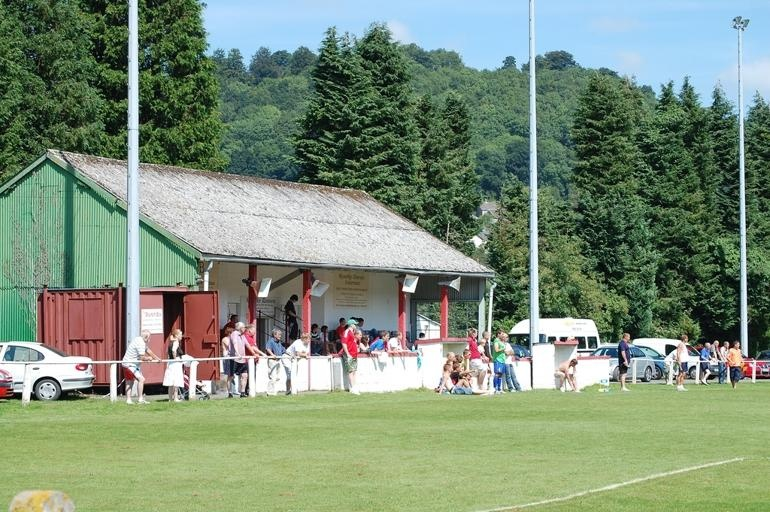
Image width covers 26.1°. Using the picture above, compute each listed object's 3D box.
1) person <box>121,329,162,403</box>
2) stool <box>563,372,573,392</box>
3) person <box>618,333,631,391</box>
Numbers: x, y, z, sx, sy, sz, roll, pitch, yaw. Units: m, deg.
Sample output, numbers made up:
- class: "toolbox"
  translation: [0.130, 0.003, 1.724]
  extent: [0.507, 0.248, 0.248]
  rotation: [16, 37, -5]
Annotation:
- class: "person"
  translation: [-9.420, 4.027, 62.762]
  extent: [1.372, 2.921, 1.167]
  rotation: [1, -1, -22]
- class: "stool"
  translation: [7.924, 5.417, 71.772]
  extent: [0.262, 0.651, 0.427]
  rotation: [5, 9, 21]
- class: "person"
  translation: [10.320, 4.576, 71.771]
  extent: [0.413, 2.418, 1.254]
  rotation: [-2, -7, 6]
